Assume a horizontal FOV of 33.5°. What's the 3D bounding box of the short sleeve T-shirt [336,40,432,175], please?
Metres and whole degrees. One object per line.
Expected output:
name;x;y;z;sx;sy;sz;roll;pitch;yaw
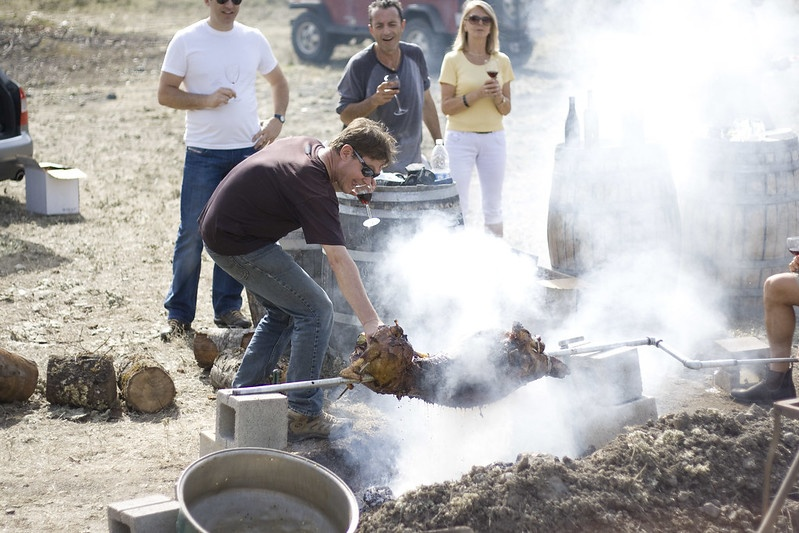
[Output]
short sleeve T-shirt;-0.053;-1.844;15.768;1.112;1.555;0.612;-16;23;-16

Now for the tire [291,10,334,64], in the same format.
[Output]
tire;-1.807;-4.349;25.395;0.392;1.183;1.117;3;12;45

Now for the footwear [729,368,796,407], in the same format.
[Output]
footwear;3.856;1.332;14.401;0.717;0.539;0.273;1;9;35

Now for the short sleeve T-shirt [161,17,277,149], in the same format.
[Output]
short sleeve T-shirt;-2.021;-2.064;15.342;1.332;1.441;0.738;-3;15;-16

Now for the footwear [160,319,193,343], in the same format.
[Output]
footwear;-2.537;0.762;15.250;0.166;0.227;0.478;-3;-9;25

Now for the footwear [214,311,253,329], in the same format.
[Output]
footwear;-1.933;0.646;15.355;0.451;0.200;0.175;-3;2;22
